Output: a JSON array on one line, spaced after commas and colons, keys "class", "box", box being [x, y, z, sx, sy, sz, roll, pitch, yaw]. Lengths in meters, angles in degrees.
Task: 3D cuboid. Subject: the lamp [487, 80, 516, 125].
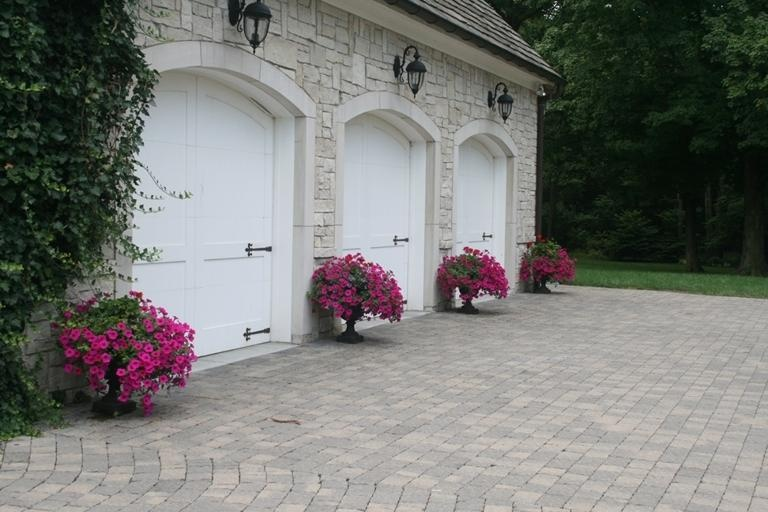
[{"class": "lamp", "box": [2.480, -3.326, 13.542, 0.447, 0.778, 0.766, 4, 7, 19]}]

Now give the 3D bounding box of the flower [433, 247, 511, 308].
[{"class": "flower", "box": [1.558, 0.372, 11.876, 1.268, 0.940, 1.200, 0, 2, -27]}]

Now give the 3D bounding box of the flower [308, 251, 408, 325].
[{"class": "flower", "box": [-0.405, 0.450, 8.964, 1.097, 0.727, 1.096, 20, 5, -12]}]

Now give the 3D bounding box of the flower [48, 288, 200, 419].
[{"class": "flower", "box": [-2.467, 0.863, 6.498, 1.317, 1.057, 1.257, 3, -1, 3]}]

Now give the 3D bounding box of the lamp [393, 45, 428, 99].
[{"class": "lamp", "box": [0.477, -3.154, 10.782, 0.471, 0.869, 0.639, 4, 7, 23]}]
